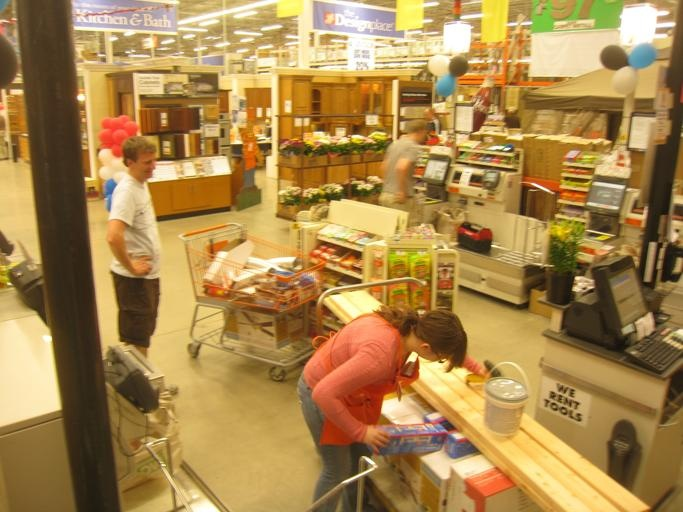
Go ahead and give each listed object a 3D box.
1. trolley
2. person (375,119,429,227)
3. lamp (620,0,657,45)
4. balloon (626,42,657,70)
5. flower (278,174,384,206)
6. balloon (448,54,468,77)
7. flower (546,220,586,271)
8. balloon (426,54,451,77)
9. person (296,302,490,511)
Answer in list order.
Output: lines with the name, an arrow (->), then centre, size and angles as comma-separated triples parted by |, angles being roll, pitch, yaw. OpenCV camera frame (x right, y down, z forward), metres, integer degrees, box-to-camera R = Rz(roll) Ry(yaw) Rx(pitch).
trolley -> -0.805, 0.357, 4.784 | 1.302, 0.984, 0.794 | 10, 17, 34
person -> 0.755, -0.991, 6.337 | 0.536, 1.323, 0.660 | 2, 22, 7
lamp -> 3.662, -2.874, 6.366 | 0.399, 0.547, 0.704 | 9, 21, 24
balloon -> 3.499, -2.338, 6.004 | 0.280, 0.279, 0.207 | 7, 22, 19
flower -> -0.185, -0.971, 8.012 | 1.315, 0.211, 0.681 | -4, 5, 7
balloon -> 1.744, -2.849, 7.684 | 0.370, 0.286, 0.181 | 5, 23, 2
flower -> 1.638, -0.081, 3.795 | 0.221, 0.373, 0.456 | 8, 21, 21
balloon -> 1.536, -3.003, 8.082 | 0.307, 0.346, 0.630 | 3, 18, 10
person -> 0.282, 0.893, 2.857 | 1.280, 1.484, 0.666 | 2, 51, -2
